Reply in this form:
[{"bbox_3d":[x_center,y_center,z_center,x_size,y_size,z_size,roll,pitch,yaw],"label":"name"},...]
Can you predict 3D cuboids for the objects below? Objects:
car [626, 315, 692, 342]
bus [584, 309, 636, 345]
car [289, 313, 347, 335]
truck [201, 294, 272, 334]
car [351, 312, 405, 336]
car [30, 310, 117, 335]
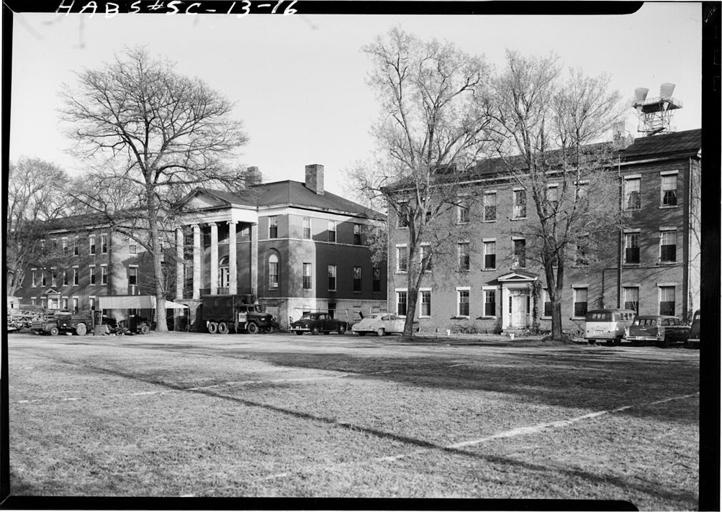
[{"bbox_3d":[16.079,3.729,37.506,1.385,1.034,2.931,-1,-2,39],"label":"car"},{"bbox_3d":[13.638,3.882,38.805,1.472,1.402,2.778,0,0,39],"label":"bus"},{"bbox_3d":[-2.873,5.030,51.233,1.711,1.150,3.256,-7,-11,37],"label":"car"},{"bbox_3d":[-9.473,4.451,53.661,5.229,2.892,2.587,-1,-3,14],"label":"truck"},{"bbox_3d":[1.251,4.725,49.191,3.639,1.250,1.547,-1,0,-37],"label":"car"},{"bbox_3d":[-18.637,4.404,45.608,4.164,1.590,2.433,1,-2,-29],"label":"car"}]
